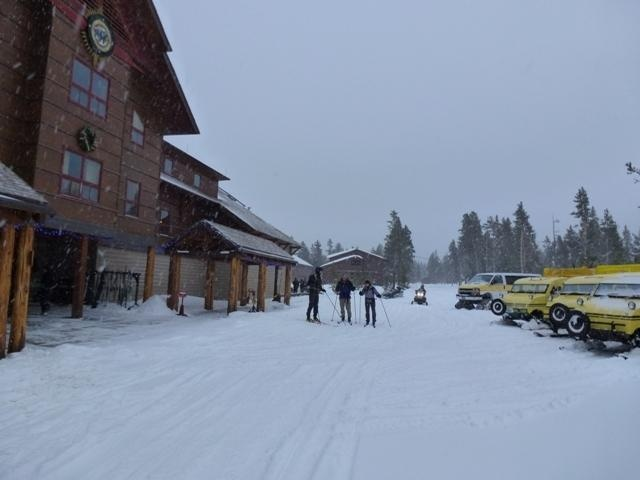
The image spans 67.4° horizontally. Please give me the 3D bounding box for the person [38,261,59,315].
[{"bbox_3d":[-10.406,1.507,18.121,0.678,2.411,0.573,-3,-33,-27],"label":"person"}]

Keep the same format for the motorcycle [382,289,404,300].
[{"bbox_3d":[6.567,4.912,43.711,0.993,0.843,4.448,-11,-14,16],"label":"motorcycle"}]

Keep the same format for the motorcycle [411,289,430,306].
[{"bbox_3d":[6.622,3.924,31.913,0.820,1.027,1.744,-1,-15,13],"label":"motorcycle"}]
